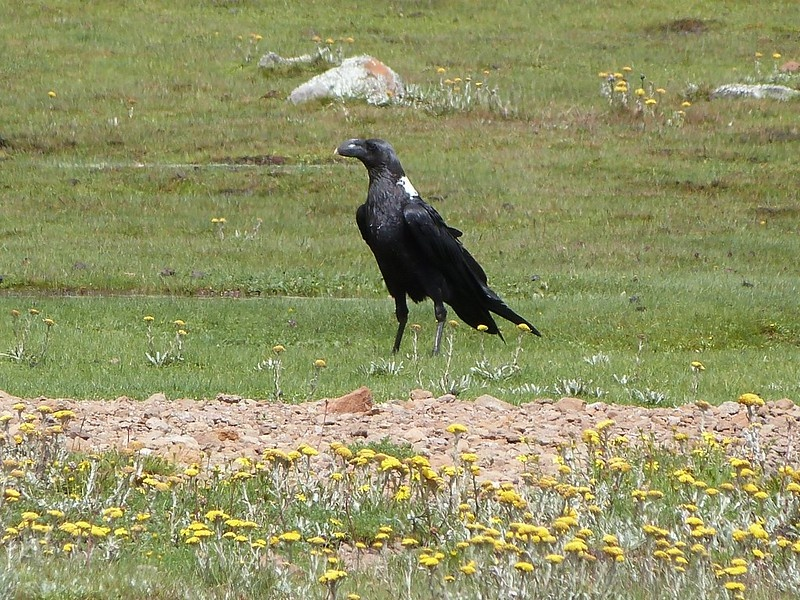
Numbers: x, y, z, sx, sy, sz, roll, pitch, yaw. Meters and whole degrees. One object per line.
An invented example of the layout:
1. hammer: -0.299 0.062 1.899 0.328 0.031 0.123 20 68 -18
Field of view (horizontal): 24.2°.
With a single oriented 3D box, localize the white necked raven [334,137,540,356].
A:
1. white necked raven: 0.457 -1.194 42.707 5.438 4.700 2.678 1 13 4
